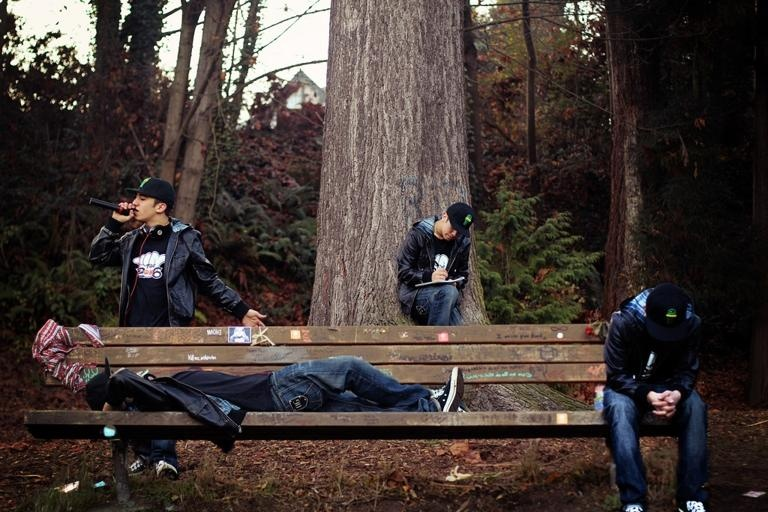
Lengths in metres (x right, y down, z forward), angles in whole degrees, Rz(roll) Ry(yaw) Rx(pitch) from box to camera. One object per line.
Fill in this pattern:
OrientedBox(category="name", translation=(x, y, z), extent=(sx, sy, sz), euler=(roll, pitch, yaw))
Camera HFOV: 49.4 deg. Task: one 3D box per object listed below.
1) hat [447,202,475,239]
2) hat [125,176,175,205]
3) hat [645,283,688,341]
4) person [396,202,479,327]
OrientedBox(category="hat", translation=(0.990, -0.542, 11.108), extent=(0.308, 0.449, 0.248), euler=(11, -48, -33))
OrientedBox(category="hat", translation=(-2.808, -0.780, 10.175), extent=(0.434, 0.251, 0.323), euler=(10, -1, -16))
OrientedBox(category="hat", translation=(3.140, 0.558, 9.175), extent=(0.467, 0.725, 0.365), euler=(4, -37, 13))
OrientedBox(category="person", translation=(0.683, 0.093, 11.095), extent=(1.032, 1.436, 0.659), euler=(-4, 1, -1))
